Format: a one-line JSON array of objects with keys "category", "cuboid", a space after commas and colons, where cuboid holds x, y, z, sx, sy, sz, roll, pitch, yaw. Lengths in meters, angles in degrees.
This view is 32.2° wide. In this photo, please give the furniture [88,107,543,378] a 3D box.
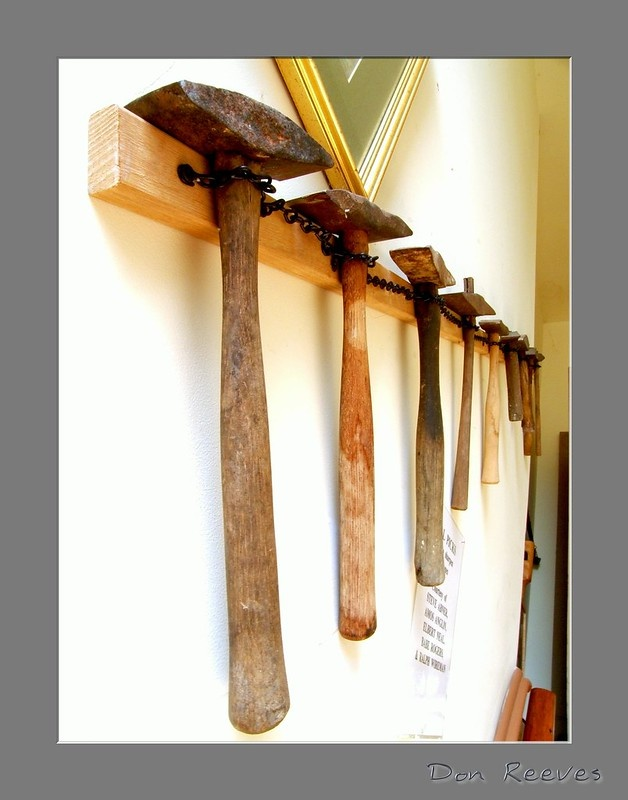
[{"category": "furniture", "cuboid": [-0.040, -0.160, 1.013, 0.069, 0.161, 0.437, 12, 11, 30]}]
